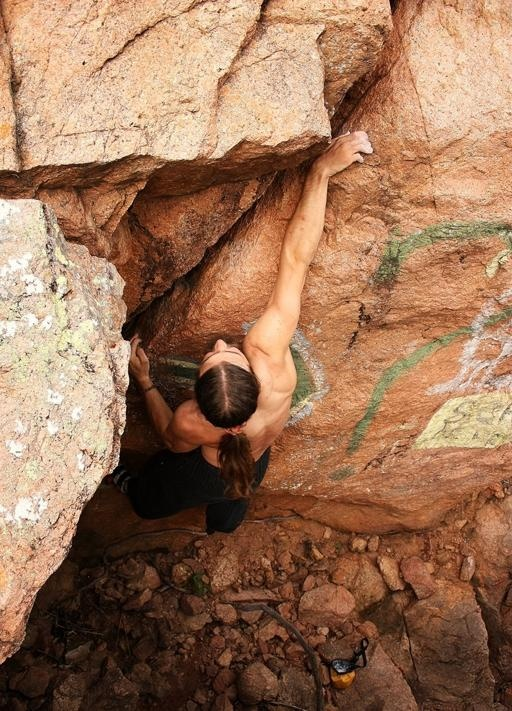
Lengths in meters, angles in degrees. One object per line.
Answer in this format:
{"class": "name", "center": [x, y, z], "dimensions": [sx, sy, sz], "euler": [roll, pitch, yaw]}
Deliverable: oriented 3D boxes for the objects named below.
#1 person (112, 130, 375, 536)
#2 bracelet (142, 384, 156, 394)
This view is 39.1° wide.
{"class": "person", "center": [-0.094, 0.128, 3.016], "dimensions": [0.683, 2.100, 0.820], "euler": [-12, 30, -31]}
{"class": "bracelet", "center": [-0.470, 0.150, 3.153], "dimensions": [0.050, 0.014, 0.037], "euler": [-27, -4, -9]}
